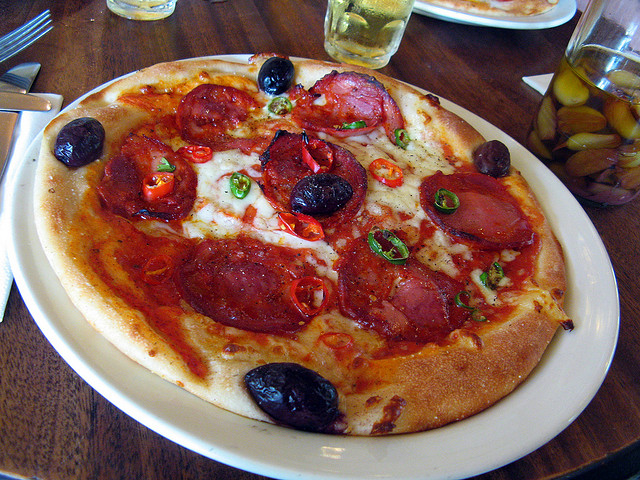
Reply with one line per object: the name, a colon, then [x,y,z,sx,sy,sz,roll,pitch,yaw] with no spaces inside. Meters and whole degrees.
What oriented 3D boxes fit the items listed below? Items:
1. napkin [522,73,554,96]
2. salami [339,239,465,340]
napkin: [1.516,-1.091,4.334,0.224,0.052,0.308,13,41,11]
salami: [0.337,0.245,2.934,0.512,0.091,0.361,32,64,30]
